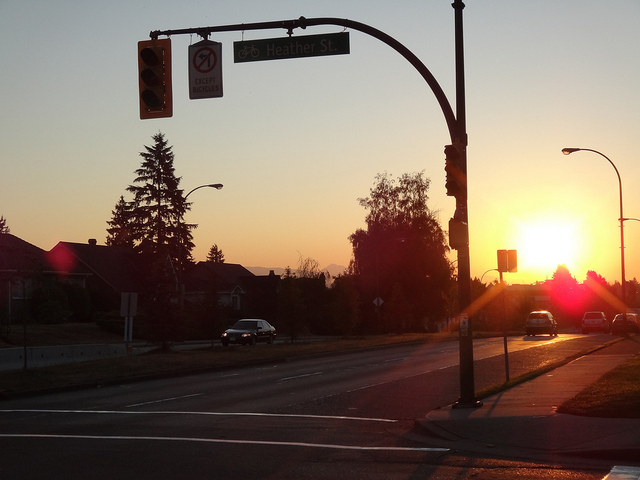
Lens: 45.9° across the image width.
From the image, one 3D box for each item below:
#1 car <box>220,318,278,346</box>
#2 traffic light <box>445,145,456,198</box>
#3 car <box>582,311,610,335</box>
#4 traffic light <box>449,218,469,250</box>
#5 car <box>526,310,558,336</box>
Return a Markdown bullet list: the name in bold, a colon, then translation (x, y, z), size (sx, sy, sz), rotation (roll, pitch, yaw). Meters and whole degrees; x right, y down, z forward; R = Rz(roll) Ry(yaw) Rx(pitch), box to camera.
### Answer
- **car**: translation (-4.263, 5.449, 45.026), size (1.833, 1.691, 3.903), rotation (-1, -9, 14)
- **traffic light**: translation (3.006, -1.623, 17.678), size (0.244, 1.136, 0.350), rotation (-1, -8, 16)
- **car**: translation (22.643, 6.795, 62.667), size (1.946, 1.828, 3.082), rotation (-1, -9, 19)
- **traffic light**: translation (3.248, -0.140, 17.859), size (0.484, 0.922, 0.504), rotation (0, -14, 9)
- **car**: translation (16.234, 6.160, 55.961), size (2.084, 1.840, 1.898), rotation (-1, -9, 16)
